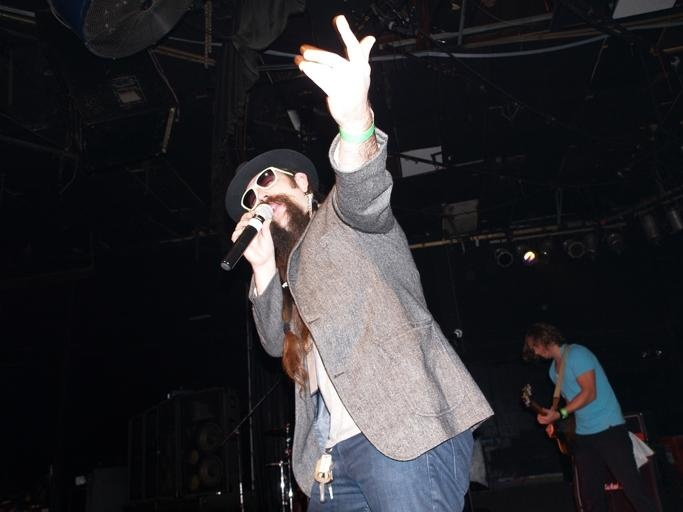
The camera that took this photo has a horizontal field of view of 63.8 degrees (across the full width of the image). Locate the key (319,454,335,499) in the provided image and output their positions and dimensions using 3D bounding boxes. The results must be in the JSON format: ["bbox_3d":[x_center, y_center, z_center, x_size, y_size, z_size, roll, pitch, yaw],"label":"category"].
[{"bbox_3d":[-0.108,1.729,4.324,0.093,0.397,0.131,-1,-5,3],"label":"key"}]

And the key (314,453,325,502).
[{"bbox_3d":[-0.145,1.743,4.343,0.094,0.372,0.139,1,0,5],"label":"key"}]

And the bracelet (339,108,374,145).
[{"bbox_3d":[0.130,-0.910,4.052,0.205,0.084,0.272,-19,-62,-2],"label":"bracelet"}]
